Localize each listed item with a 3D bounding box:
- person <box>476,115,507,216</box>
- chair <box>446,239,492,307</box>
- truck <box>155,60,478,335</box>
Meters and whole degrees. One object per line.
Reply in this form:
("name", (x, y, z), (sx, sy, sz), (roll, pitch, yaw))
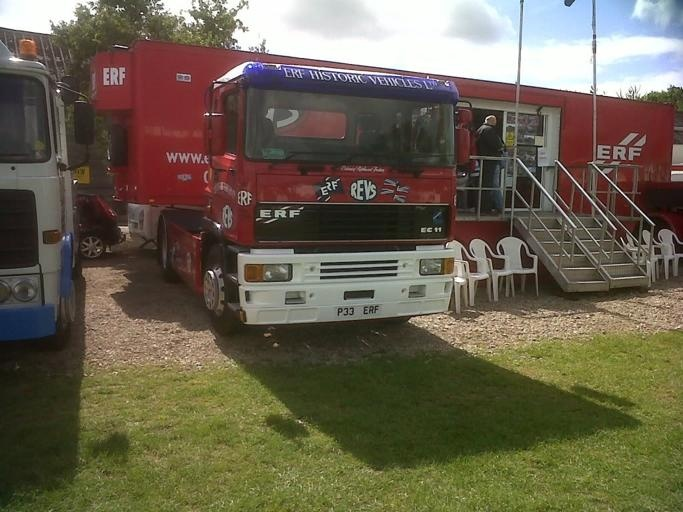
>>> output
("person", (3.103, -1.883, 10.639), (0.678, 1.957, 0.763), (1, 11, -3))
("chair", (2.306, 0.295, 9.383), (0.606, 1.031, 0.720), (-5, 7, -28))
("truck", (-1.019, -1.147, 9.568), (3.173, 3.403, 7.259), (-2, 10, -20))
